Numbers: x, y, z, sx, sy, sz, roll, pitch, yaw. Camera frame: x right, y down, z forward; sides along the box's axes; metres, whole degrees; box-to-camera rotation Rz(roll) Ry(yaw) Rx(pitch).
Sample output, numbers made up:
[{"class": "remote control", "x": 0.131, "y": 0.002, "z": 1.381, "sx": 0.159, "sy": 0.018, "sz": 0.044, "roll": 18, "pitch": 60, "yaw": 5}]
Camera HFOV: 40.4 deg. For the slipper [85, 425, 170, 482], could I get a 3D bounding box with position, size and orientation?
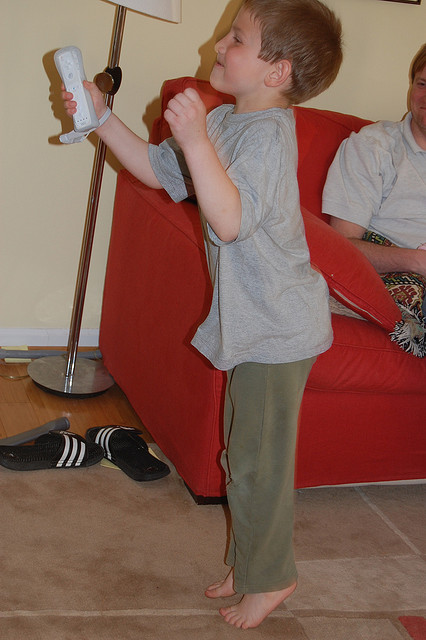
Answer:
[{"class": "slipper", "x": -0.211, "y": 0.318, "z": 1.442, "sx": 0.141, "sy": 0.066, "sz": 0.275, "roll": -2, "pitch": 16, "yaw": -36}]
